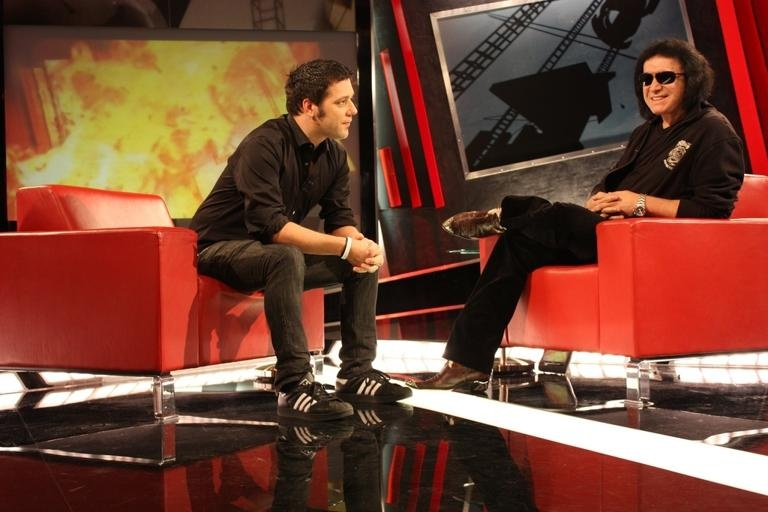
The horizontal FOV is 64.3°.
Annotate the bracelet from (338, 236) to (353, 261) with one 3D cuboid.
[{"bbox_3d":[-0.152,-0.028,2.509,0.029,0.073,0.068,14,-33,-7],"label":"bracelet"}]

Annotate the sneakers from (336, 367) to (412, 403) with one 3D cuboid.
[{"bbox_3d":[-0.054,0.559,2.649,0.338,0.133,0.125,0,-1,5],"label":"sneakers"}]

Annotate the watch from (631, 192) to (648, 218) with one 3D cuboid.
[{"bbox_3d":[1.126,-0.222,2.688,0.067,0.096,0.095,14,33,6],"label":"watch"}]

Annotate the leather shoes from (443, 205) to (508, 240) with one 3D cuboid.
[{"bbox_3d":[0.446,-0.154,3.019,0.264,0.089,0.142,-2,13,2],"label":"leather shoes"}]

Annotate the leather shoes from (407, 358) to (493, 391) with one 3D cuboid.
[{"bbox_3d":[0.301,0.538,2.812,0.447,0.162,0.138,1,-2,7],"label":"leather shoes"}]

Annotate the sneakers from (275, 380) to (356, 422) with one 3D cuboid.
[{"bbox_3d":[-0.270,0.567,2.401,0.307,0.123,0.131,-1,-3,17],"label":"sneakers"}]
